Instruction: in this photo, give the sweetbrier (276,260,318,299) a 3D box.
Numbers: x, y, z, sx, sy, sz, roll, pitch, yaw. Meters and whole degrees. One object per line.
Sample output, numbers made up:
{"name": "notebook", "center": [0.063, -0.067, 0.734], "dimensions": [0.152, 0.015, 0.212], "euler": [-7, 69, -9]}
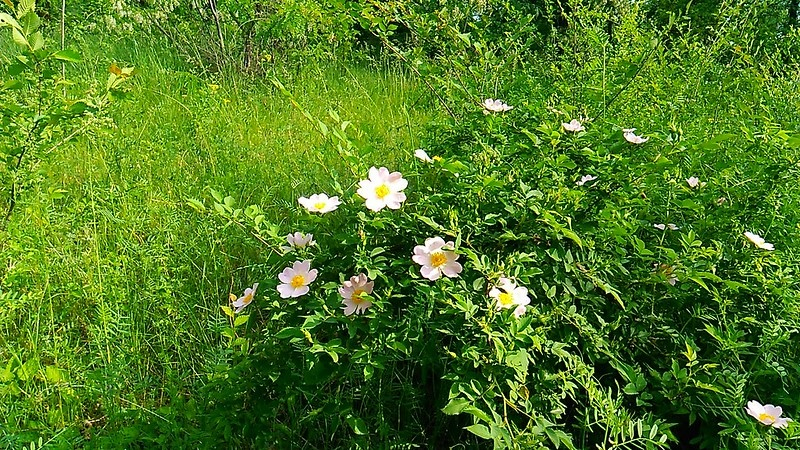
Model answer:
{"name": "sweetbrier", "center": [-0.479, 0.259, 2.522], "dimensions": [0.181, 0.066, 0.180], "euler": [-2, 73, 20]}
